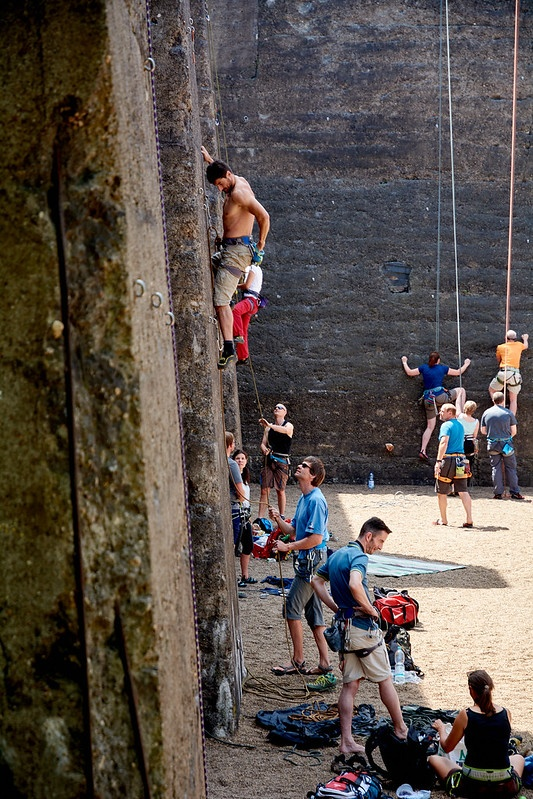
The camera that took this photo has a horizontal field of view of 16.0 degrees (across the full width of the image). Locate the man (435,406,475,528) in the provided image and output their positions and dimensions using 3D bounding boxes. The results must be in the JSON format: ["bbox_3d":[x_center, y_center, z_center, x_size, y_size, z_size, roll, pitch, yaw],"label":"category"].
[{"bbox_3d":[1.822,0.703,18.400,0.392,1.375,1.398,5,7,7],"label":"man"}]

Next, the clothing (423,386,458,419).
[{"bbox_3d":[1.834,0.070,20.380,0.159,0.121,0.317,-4,-25,-21],"label":"clothing"}]

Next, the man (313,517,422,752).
[{"bbox_3d":[0.664,1.687,12.810,0.627,1.640,0.504,5,7,7],"label":"man"}]

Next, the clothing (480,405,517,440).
[{"bbox_3d":[2.417,0.291,19.983,0.294,0.348,0.172,4,17,30],"label":"clothing"}]

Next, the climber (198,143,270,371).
[{"bbox_3d":[-0.264,-1.021,13.975,0.511,1.661,0.669,4,7,-1],"label":"climber"}]

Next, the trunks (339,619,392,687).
[{"bbox_3d":[0.663,1.788,12.795,0.336,0.428,0.189,5,7,4],"label":"trunks"}]

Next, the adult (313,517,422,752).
[{"bbox_3d":[0.662,1.686,12.811,0.623,1.640,0.504,5,7,7],"label":"adult"}]

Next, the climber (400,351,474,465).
[{"bbox_3d":[1.823,0.078,20.557,0.776,1.394,0.501,13,27,28],"label":"climber"}]

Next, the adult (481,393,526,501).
[{"bbox_3d":[2.444,0.511,20.007,0.387,1.225,0.394,-2,17,8],"label":"adult"}]

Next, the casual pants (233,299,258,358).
[{"bbox_3d":[-0.177,-0.580,15.906,0.195,0.179,0.617,26,16,-3],"label":"casual pants"}]

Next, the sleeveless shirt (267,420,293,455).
[{"bbox_3d":[0.114,0.405,18.029,0.294,0.502,0.255,1,-7,0],"label":"sleeveless shirt"}]
